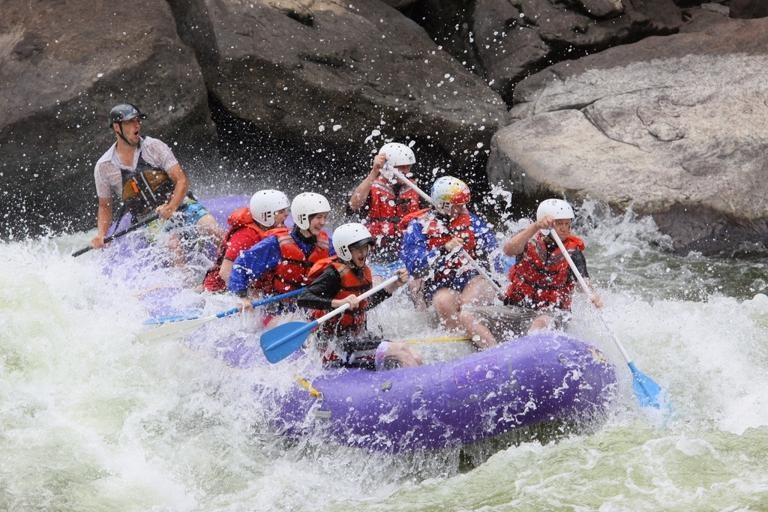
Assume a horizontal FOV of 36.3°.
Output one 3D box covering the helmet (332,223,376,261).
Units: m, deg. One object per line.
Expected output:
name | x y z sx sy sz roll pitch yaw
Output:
helmet | -0.290 -0.102 11.705 0.340 0.437 0.328 1 84 -33

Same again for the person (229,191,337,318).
person | -1.063 0.039 12.088 0.574 1.591 1.165 32 23 37

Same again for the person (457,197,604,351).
person | 1.553 0.250 12.356 1.251 0.946 1.571 18 88 17

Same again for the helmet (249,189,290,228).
helmet | -1.271 -0.472 12.543 0.415 0.304 0.328 1 85 -9

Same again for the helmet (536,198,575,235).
helmet | 1.731 -0.447 12.048 0.233 0.306 0.232 -3 75 -42

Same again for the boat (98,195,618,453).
boat | -0.359 0.792 11.990 3.954 0.780 2.093 10 16 39

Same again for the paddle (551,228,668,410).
paddle | 2.351 0.728 12.276 0.322 0.202 2.279 -30 53 7

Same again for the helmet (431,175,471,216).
helmet | 0.719 -0.658 12.641 0.474 0.397 0.348 15 25 32

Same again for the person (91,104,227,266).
person | -2.741 -0.833 13.868 1.218 1.960 1.148 -44 22 -23

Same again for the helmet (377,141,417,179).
helmet | 0.169 -1.116 13.344 0.367 0.287 0.260 27 27 3

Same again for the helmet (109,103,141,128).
helmet | -2.956 -1.606 13.278 0.379 0.179 0.264 -9 10 7

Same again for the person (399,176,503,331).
person | 0.718 0.149 12.785 1.028 2.056 1.053 18 31 37

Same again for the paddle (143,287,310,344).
paddle | -1.591 0.641 12.088 2.127 0.084 0.277 -13 83 -5

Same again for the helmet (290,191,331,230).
helmet | -0.770 -0.465 12.170 0.437 0.356 0.381 -5 12 -1

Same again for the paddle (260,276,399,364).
paddle | -0.494 0.604 11.888 1.701 0.287 0.128 -22 44 -31
